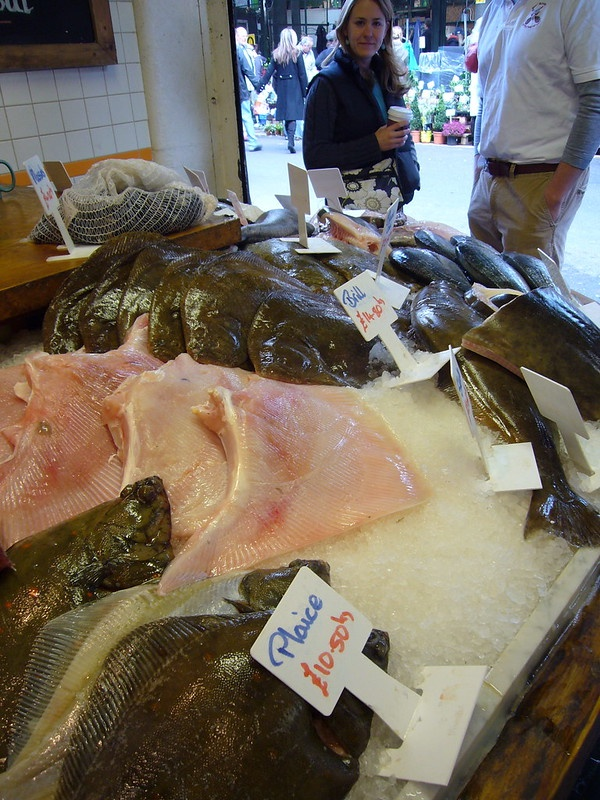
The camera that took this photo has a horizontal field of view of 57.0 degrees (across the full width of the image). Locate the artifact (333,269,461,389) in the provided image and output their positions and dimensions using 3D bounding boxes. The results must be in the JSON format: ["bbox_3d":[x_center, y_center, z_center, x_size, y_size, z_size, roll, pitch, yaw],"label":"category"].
[{"bbox_3d":[0.220,-0.110,1.333,0.178,0.359,0.063,-26,-7,-30],"label":"artifact"}]

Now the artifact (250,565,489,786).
[{"bbox_3d":[0.085,0.364,0.730,0.084,0.347,0.199,-38,19,50],"label":"artifact"}]

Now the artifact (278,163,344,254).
[{"bbox_3d":[0.035,-0.657,1.898,0.170,0.256,0.216,-13,27,-22],"label":"artifact"}]

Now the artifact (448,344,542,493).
[{"bbox_3d":[0.413,0.047,1.161,0.108,0.292,0.152,-14,32,21],"label":"artifact"}]

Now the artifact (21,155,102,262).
[{"bbox_3d":[-0.825,-0.675,1.924,0.229,0.335,0.218,11,34,15],"label":"artifact"}]
